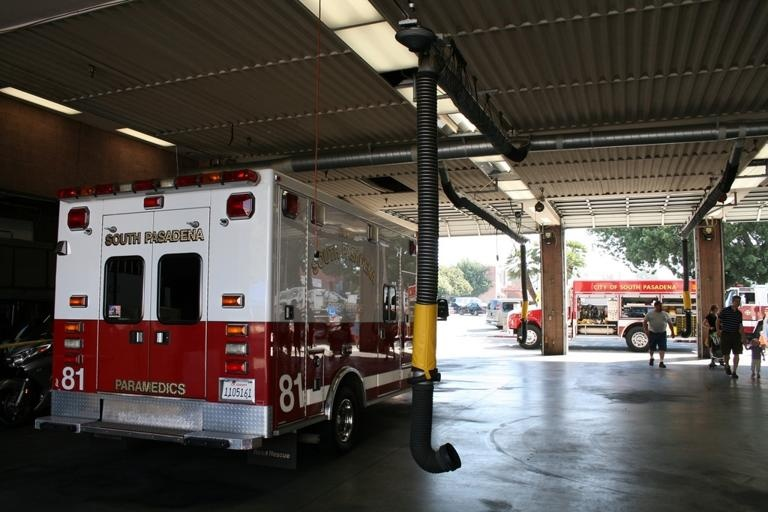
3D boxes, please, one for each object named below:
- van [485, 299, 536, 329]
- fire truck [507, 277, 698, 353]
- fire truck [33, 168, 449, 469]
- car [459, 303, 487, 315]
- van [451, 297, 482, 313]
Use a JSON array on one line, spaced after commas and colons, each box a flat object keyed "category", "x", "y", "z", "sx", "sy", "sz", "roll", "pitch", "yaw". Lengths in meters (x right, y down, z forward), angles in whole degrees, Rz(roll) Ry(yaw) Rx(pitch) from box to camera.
[{"category": "van", "x": 8.127, "y": 3.588, "z": 38.320, "sx": 2.600, "sy": 1.468, "sz": 1.692, "roll": -3, "pitch": 1, "yaw": -8}, {"category": "fire truck", "x": 10.437, "y": 2.512, "z": 27.593, "sx": 9.155, "sy": 4.139, "sz": 3.414, "roll": -3, "pitch": -4, "yaw": 17}, {"category": "fire truck", "x": -1.754, "y": 0.984, "z": 10.701, "sx": 3.675, "sy": 3.439, "sz": 6.291, "roll": -1, "pitch": -2, "yaw": 27}, {"category": "car", "x": 9.870, "y": 6.112, "z": 69.852, "sx": 2.630, "sy": 0.976, "sz": 1.326, "roll": 3, "pitch": 0, "yaw": 42}, {"category": "van", "x": 9.786, "y": 5.860, "z": 72.358, "sx": 2.046, "sy": 1.457, "sz": 4.680, "roll": 1, "pitch": 1, "yaw": 1}]
